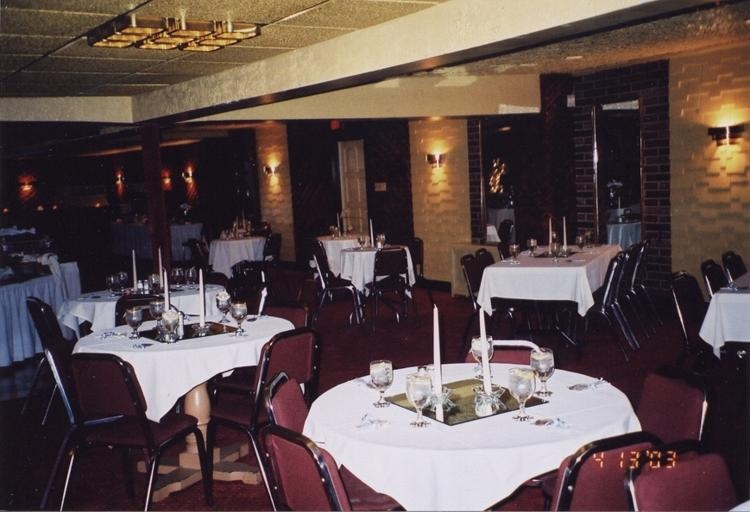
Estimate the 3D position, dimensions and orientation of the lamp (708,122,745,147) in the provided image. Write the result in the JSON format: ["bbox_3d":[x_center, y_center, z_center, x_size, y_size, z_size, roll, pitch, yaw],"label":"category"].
[{"bbox_3d":[4.475,-1.535,7.152,0.394,0.240,0.101,0,8,33],"label":"lamp"}]

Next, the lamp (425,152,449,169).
[{"bbox_3d":[1.074,-1.711,10.065,0.152,0.270,0.465,-10,9,-40],"label":"lamp"}]
